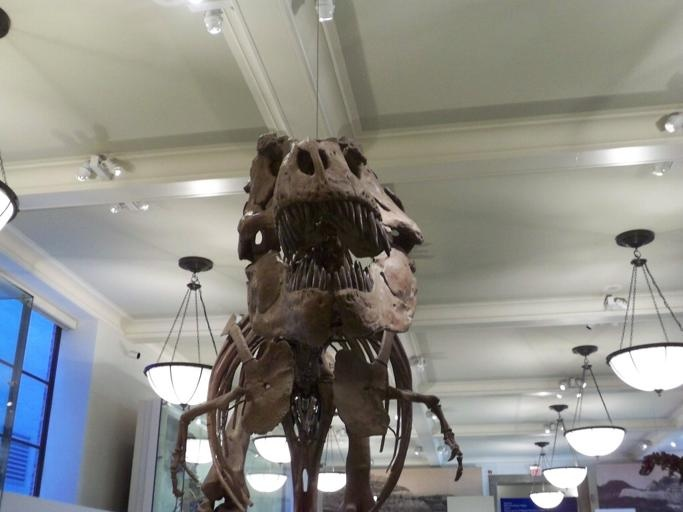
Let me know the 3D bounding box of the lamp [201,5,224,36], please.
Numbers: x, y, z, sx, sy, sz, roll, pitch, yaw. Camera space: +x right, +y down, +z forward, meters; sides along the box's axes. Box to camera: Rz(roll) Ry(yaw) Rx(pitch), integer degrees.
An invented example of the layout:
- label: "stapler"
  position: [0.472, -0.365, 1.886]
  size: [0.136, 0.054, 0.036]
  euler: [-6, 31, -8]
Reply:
- label: "lamp"
  position: [-0.744, -1.379, 3.385]
  size: [0.097, 0.154, 0.062]
  euler: [-2, -29, 3]
